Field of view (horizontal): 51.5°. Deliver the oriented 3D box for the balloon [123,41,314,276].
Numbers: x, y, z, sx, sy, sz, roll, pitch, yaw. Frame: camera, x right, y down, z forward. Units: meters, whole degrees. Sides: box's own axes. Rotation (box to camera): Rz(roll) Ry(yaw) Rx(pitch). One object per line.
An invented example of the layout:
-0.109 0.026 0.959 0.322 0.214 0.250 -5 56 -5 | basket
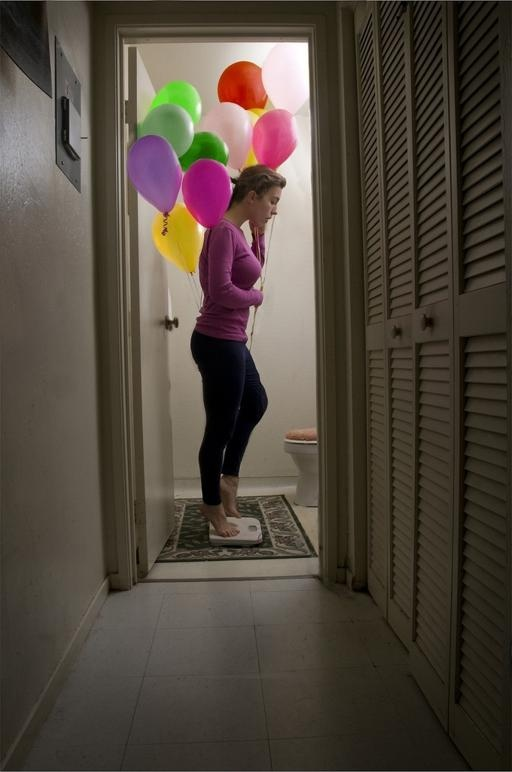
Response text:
-0.136 -0.885 1.961 0.460 1.112 0.354 3 -5 -11 | balloon
